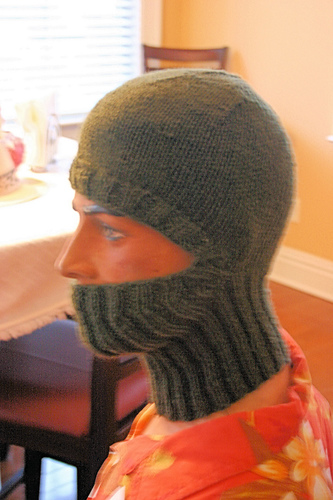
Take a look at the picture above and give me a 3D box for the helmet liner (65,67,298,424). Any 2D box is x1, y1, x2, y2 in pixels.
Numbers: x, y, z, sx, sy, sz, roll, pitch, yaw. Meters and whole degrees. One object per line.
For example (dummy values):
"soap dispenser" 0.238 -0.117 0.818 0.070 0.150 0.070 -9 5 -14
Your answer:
"helmet liner" 0.027 0.000 0.619 0.297 0.402 0.246 0 5 -22
